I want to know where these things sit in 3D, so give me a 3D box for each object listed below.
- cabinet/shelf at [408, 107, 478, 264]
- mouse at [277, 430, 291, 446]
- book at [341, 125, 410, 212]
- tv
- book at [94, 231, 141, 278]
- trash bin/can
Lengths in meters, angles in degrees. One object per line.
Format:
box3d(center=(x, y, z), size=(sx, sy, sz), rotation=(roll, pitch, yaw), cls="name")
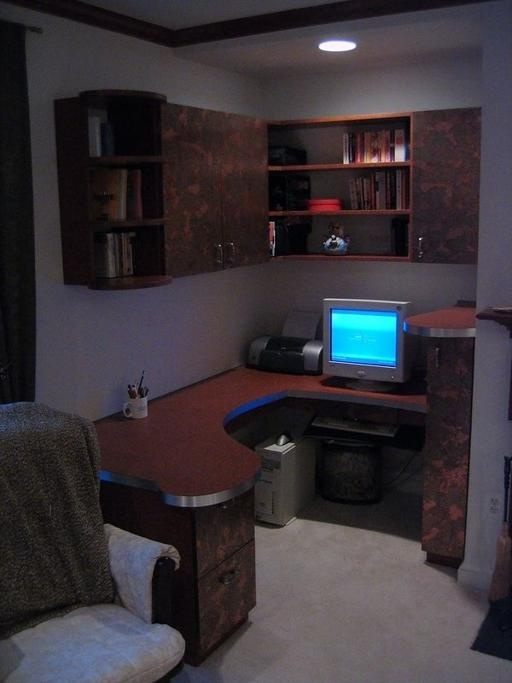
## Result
box3d(center=(1.004, -0.817, 3.003), size=(0.343, 0.793, 0.164), rotation=(1, 6, 17), cls="cabinet/shelf")
box3d(center=(0.163, 0.572, 3.287), size=(0.051, 0.047, 0.075), rotation=(-1, -1, 17), cls="mouse")
box3d(center=(0.722, -1.046, 3.359), size=(0.393, 0.551, 0.338), rotation=(2, 6, 21), cls="book")
box3d(center=(0.595, -0.021, 3.405), size=(0.635, 0.700, 0.438), rotation=(0, -2, 29), cls="tv")
box3d(center=(-0.598, -0.371, 2.386), size=(0.066, 0.181, 0.190), rotation=(5, 16, 20), cls="book")
box3d(center=(0.544, 0.770, 3.553), size=(0.408, 0.451, 0.420), rotation=(-1, 0, 1), cls="trash bin/can")
